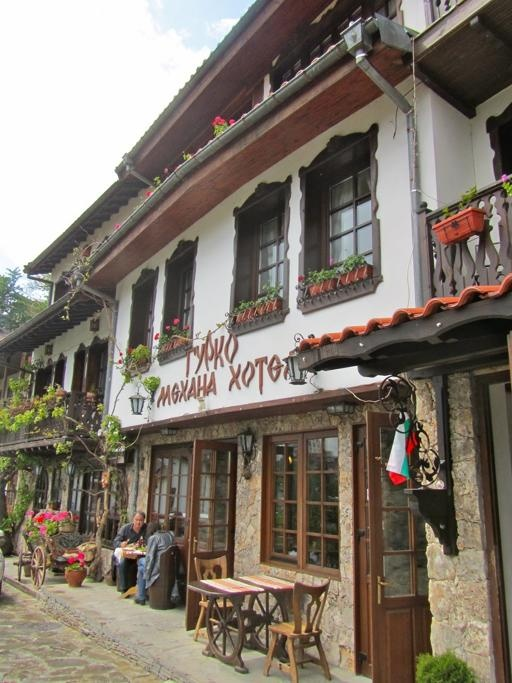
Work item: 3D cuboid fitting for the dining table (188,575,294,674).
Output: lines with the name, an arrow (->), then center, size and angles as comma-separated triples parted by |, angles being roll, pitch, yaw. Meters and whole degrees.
dining table -> -0.119, 3.243, 6.282 | 1.091, 0.826, 0.927 | 11, -17, -33

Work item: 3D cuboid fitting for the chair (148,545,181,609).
chair -> -1.505, 3.854, 8.813 | 0.458, 1.012, 0.656 | 1, -15, -11

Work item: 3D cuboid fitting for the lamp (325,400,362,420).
lamp -> 0.899, 0.748, 5.920 | 0.257, 0.167, 0.261 | -6, -17, 31

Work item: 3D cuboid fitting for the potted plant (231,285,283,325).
potted plant -> 0.026, -0.437, 6.962 | 0.200, 0.450, 1.131 | 7, -17, -29

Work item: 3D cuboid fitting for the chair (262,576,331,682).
chair -> 0.405, 2.953, 5.638 | 0.681, 1.006, 1.230 | -2, -15, 0

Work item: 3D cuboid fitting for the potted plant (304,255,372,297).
potted plant -> 0.852, -0.637, 5.718 | 0.260, 0.289, 0.859 | 12, -13, -28

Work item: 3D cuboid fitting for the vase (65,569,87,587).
vase -> -3.620, 4.660, 10.759 | 0.348, 0.286, 0.340 | -7, -22, 42

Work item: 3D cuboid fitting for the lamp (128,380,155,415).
lamp -> -2.074, 0.998, 9.848 | 0.391, 0.653, 0.971 | 4, -16, -22

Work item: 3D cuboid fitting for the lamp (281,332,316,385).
lamp -> 0.419, 0.178, 5.639 | 0.305, 0.560, 0.306 | 12, -21, -32

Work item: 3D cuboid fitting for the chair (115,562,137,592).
chair -> -2.394, 4.339, 10.059 | 0.334, 0.598, 0.615 | 2, -15, -13

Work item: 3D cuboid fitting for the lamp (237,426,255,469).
lamp -> -0.143, 1.531, 7.767 | 0.185, 0.548, 0.286 | 4, -16, -21

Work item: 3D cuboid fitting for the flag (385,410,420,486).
flag -> 1.144, 0.838, 4.264 | 0.245, 0.543, 0.333 | -5, -15, 14

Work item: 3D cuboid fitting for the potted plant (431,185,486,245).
potted plant -> 1.445, -0.895, 3.860 | 0.145, 0.328, 0.328 | -2, -10, -27

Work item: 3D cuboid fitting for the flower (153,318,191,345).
flower -> -1.465, -0.153, 9.578 | 0.473, 0.279, 0.692 | 20, -27, -35
